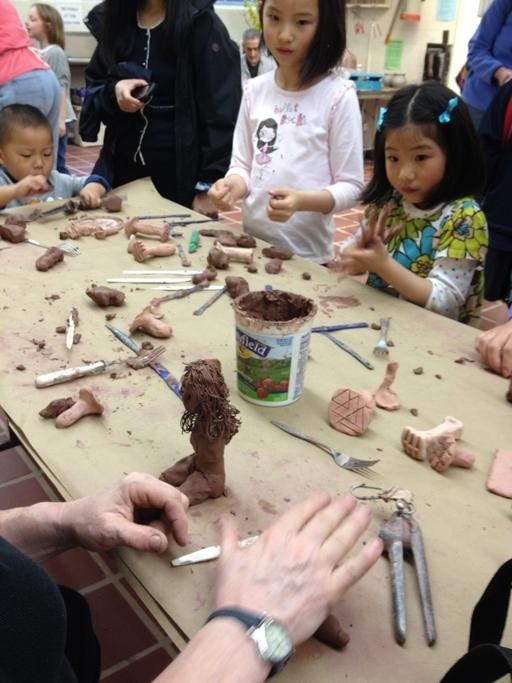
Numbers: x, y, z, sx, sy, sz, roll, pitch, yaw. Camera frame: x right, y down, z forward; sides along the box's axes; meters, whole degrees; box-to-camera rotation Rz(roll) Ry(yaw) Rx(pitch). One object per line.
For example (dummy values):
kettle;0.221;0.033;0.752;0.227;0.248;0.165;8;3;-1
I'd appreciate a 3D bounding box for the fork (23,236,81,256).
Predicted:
fork;-0.734;-0.341;2.056;0.296;0.031;0.038;17;50;34

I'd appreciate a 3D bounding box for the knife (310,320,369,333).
knife;0.230;-0.040;1.592;0.145;0.014;0.026;-6;22;-8

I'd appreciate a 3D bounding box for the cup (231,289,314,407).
cup;0.034;0.011;1.272;0.190;0.201;0.191;1;25;0

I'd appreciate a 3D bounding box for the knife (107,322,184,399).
knife;-0.267;0.052;1.385;0.039;0.034;0.355;-47;42;-8

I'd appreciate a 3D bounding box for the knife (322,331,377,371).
knife;0.228;0.016;1.538;0.035;0.013;0.288;-29;30;-12

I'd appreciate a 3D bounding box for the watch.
watch;-0.009;0.360;0.679;0.097;0.039;0.067;17;50;19

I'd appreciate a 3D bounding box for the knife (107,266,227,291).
knife;-0.297;-0.203;1.861;0.349;0.028;0.116;-2;32;-4

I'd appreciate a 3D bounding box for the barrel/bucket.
barrel/bucket;0.032;0.018;1.264;0.192;0.201;0.189;2;22;-1

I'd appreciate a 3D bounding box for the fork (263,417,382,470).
fork;0.116;0.204;1.135;0.240;0.019;0.057;19;32;28

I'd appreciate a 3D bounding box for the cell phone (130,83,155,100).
cell phone;-0.504;-1.117;2.574;0.071;0.078;0.142;22;34;31
